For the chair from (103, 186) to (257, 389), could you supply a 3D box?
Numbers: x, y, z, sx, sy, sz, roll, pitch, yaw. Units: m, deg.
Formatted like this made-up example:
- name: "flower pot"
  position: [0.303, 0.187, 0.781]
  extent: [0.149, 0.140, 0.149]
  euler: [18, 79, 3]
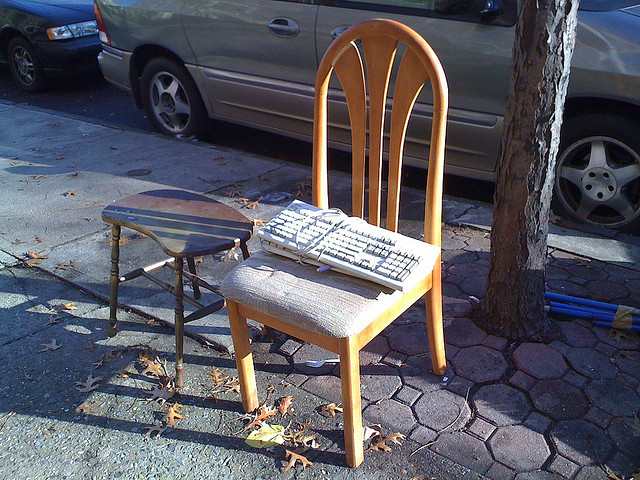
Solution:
- name: "chair"
  position: [-0.838, 0.326, 3.129]
  extent: [0.762, 0.855, 0.845]
  euler: [26, 36, 36]

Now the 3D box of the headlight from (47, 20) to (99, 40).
- name: "headlight"
  position: [-3.614, -3.128, 7.822]
  extent: [0.211, 0.201, 0.717]
  euler: [21, 37, 33]
